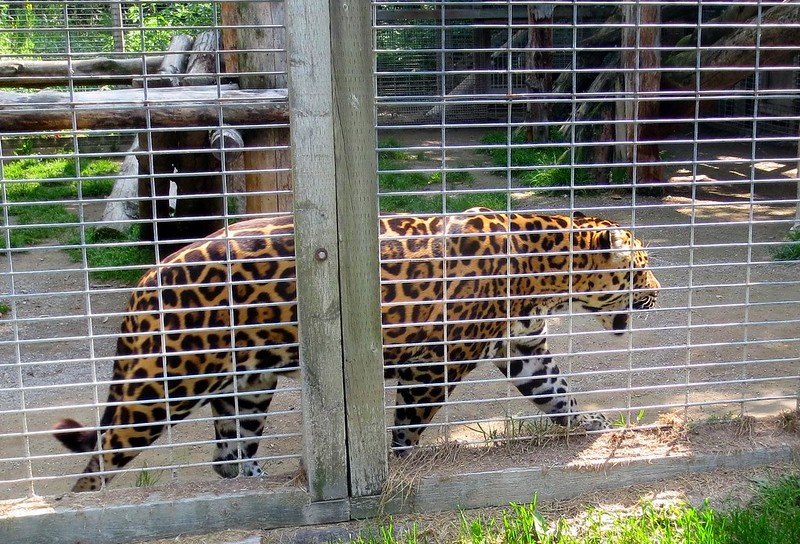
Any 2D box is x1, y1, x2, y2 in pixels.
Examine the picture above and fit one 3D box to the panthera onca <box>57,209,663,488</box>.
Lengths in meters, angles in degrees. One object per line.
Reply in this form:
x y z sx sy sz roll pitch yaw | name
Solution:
-0.189 0.506 6.950 4.269 1.485 0.905 -5 2 -20 | panthera onca
